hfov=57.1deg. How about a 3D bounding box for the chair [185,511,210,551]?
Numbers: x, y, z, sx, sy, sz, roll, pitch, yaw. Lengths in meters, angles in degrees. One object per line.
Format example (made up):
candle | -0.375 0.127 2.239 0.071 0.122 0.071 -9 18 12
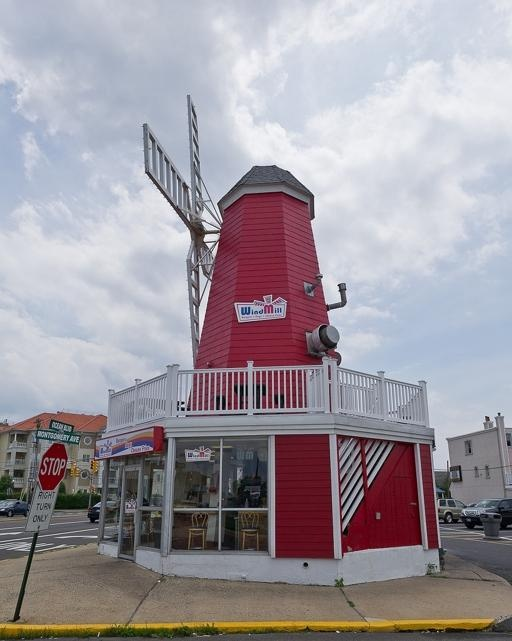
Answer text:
chair | -1.027 3.677 8.133 0.480 0.806 0.498 0 -27 2

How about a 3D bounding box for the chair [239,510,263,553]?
chair | -0.102 3.628 7.990 0.479 0.757 0.470 0 -34 3

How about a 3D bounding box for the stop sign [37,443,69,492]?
stop sign | -2.383 1.722 5.502 0.245 0.544 0.590 6 -21 -14
